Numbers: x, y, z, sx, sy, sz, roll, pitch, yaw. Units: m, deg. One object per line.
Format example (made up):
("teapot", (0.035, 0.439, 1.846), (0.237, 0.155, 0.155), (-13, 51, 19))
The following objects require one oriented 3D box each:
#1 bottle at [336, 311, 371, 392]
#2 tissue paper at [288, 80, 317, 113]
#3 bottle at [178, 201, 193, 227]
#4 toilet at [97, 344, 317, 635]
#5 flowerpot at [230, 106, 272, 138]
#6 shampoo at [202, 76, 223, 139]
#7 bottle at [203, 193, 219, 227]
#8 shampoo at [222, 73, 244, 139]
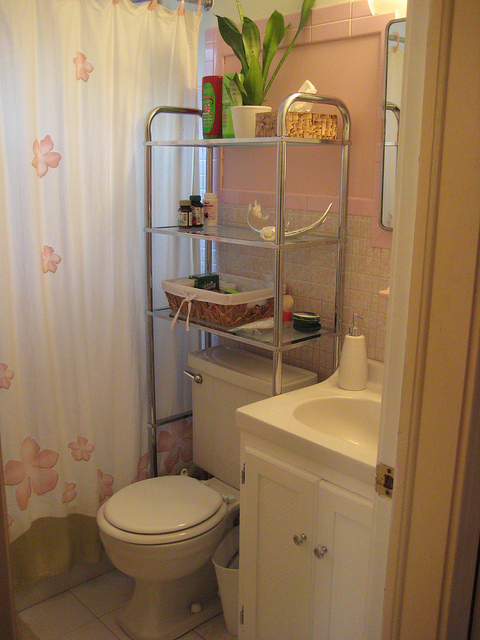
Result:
("bottle", (0.340, 0.090, 1.571), (0.103, 0.225, 0.103), (0, 10, 0))
("tissue paper", (0.182, -0.633, 1.492), (0.069, 0.107, 0.164), (3, 12, 17))
("bottle", (-0.194, -0.379, 1.895), (0.047, 0.091, 0.038), (-1, 10, -5))
("toilet", (-0.155, 0.567, 1.836), (0.586, 1.106, 0.651), (-8, 17, -31))
("flowerpot", (0.029, -0.586, 1.621), (0.086, 0.092, 0.103), (-4, 17, -13))
("shampoo", (-0.097, -0.737, 1.834), (0.074, 0.203, 0.051), (1, 10, 7))
("bottle", (-0.108, -0.390, 1.878), (0.044, 0.115, 0.032), (1, 10, 3))
("shampoo", (-0.028, -0.735, 1.781), (0.076, 0.053, 0.240), (-3, -36, -3))
